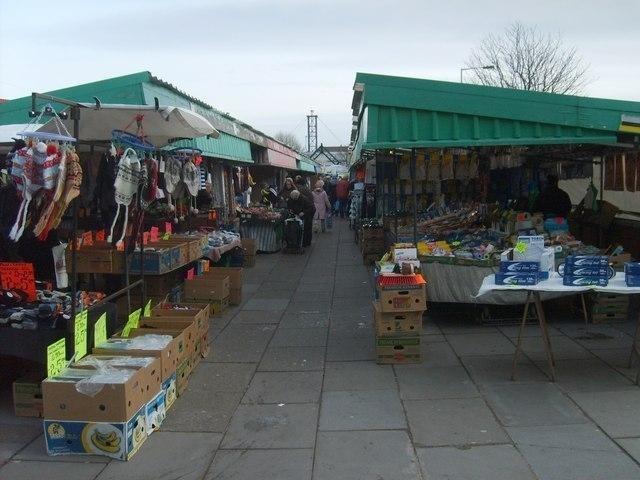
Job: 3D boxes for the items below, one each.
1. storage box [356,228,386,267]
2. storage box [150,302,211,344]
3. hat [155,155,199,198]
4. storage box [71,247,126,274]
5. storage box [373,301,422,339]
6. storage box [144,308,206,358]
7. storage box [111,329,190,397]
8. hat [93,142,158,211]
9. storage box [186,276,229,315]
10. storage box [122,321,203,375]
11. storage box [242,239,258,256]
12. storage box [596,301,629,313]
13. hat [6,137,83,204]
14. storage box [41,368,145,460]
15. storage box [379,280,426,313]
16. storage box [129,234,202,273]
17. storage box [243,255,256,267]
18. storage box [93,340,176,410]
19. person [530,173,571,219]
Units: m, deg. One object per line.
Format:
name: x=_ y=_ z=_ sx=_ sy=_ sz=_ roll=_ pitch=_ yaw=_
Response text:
storage box: x=1.224 y=0.059 z=13.180 sx=0.700 sy=1.192 sz=1.302 roll=1 pitch=2 yaw=-1
storage box: x=-1.649 y=0.945 z=6.497 sx=0.531 sy=0.306 sz=0.518 roll=0 pitch=6 yaw=5
hat: x=-2.213 y=-1.026 z=8.676 sx=0.358 sy=0.644 sz=0.746 roll=1 pitch=10 yaw=21
storage box: x=-2.866 y=0.263 z=7.238 sx=0.650 sy=0.265 sz=0.464 roll=0 pitch=0 yaw=-1
storage box: x=0.905 y=0.958 z=6.268 sx=0.535 sy=0.356 sz=0.382 roll=0 pitch=3 yaw=3
storage box: x=-1.595 y=1.008 z=6.399 sx=0.641 sy=0.375 sz=0.621 roll=0 pitch=2 yaw=-1
storage box: x=-1.702 y=1.143 z=5.540 sx=0.853 sy=0.474 sz=0.608 roll=2 pitch=1 yaw=1
hat: x=-2.166 y=-0.687 z=5.981 sx=0.493 sy=0.711 sz=0.458 roll=6 pitch=13 yaw=41
storage box: x=-1.677 y=0.788 z=8.437 sx=0.628 sy=0.376 sz=0.622 roll=1 pitch=5 yaw=4
storage box: x=-1.609 y=1.139 z=5.913 sx=0.602 sy=0.329 sz=0.588 roll=2 pitch=5 yaw=1
storage box: x=-1.589 y=0.145 z=12.679 sx=0.348 sy=0.320 sz=0.341 roll=0 pitch=2 yaw=-1
storage box: x=3.987 y=0.909 z=7.484 sx=0.246 sy=0.092 sz=0.241 roll=-1 pitch=-3 yaw=6
hat: x=-2.490 y=-0.622 z=4.941 sx=0.624 sy=0.582 sz=0.327 roll=-1 pitch=10 yaw=11
storage box: x=-1.867 y=1.379 z=4.786 sx=0.738 sy=0.702 sz=0.546 roll=3 pitch=23 yaw=10
storage box: x=0.958 y=0.653 z=6.305 sx=0.389 sy=0.224 sz=0.378 roll=0 pitch=-1 yaw=1
storage box: x=-2.219 y=0.195 z=7.775 sx=0.562 sy=0.206 sz=0.951 roll=-1 pitch=5 yaw=7
storage box: x=-1.596 y=0.482 z=12.544 sx=0.246 sy=0.149 sz=0.237 roll=0 pitch=-5 yaw=-7
storage box: x=-1.710 y=1.170 z=5.206 sx=0.700 sy=0.405 sz=0.671 roll=1 pitch=2 yaw=-1
person: x=4.124 y=-0.778 z=9.710 sx=0.624 sy=0.752 sz=0.485 roll=1 pitch=10 yaw=22
